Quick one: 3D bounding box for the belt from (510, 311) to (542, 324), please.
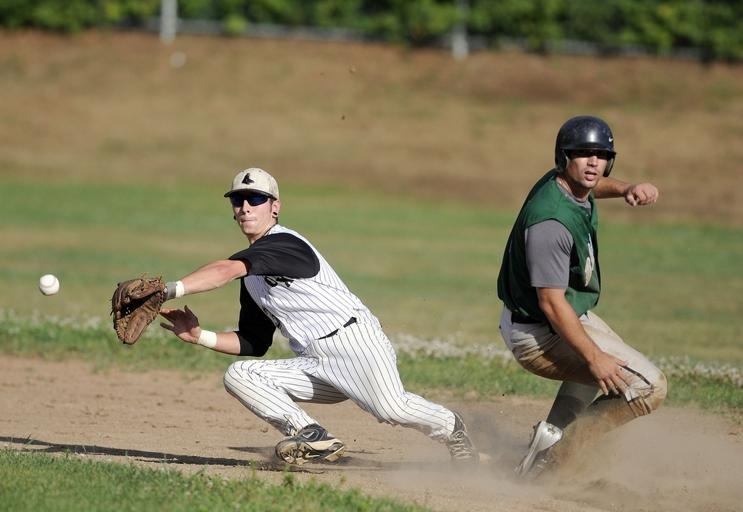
[{"bbox_3d":[2.606,1.041,26.599,0.285,0.075,0.282,17,2,-14],"label":"belt"}]

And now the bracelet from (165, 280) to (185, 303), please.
[{"bbox_3d":[-3.183,0.531,25.978,0.245,0.153,0.320,-3,9,-1],"label":"bracelet"}]
